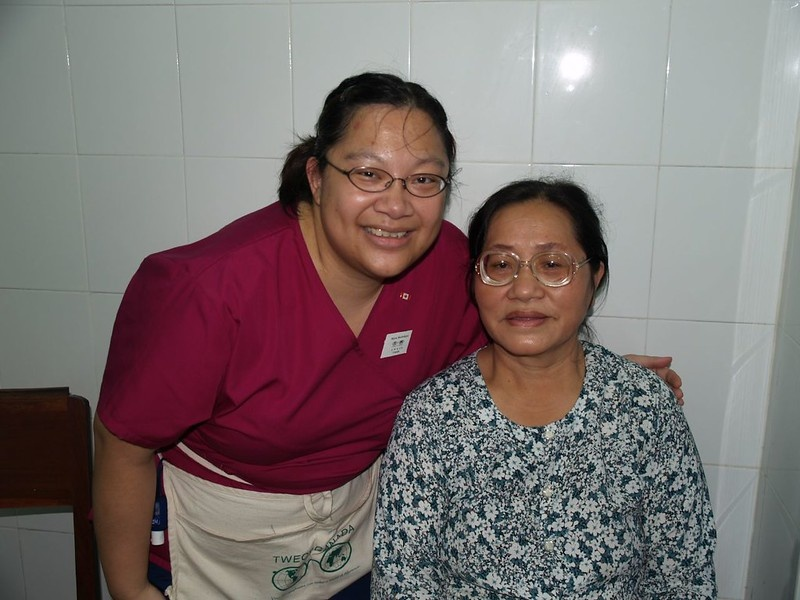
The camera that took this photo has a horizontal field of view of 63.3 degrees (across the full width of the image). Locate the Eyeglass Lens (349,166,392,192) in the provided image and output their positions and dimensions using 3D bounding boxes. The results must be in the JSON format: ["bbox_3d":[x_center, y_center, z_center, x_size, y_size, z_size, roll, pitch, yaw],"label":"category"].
[{"bbox_3d":[-0.069,-0.278,1.504,0.107,0.069,0.052,3,12,-4],"label":"Eyeglass Lens"}]

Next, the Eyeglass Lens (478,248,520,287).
[{"bbox_3d":[0.242,-0.077,1.577,0.084,0.043,0.091,0,-8,11],"label":"Eyeglass Lens"}]
